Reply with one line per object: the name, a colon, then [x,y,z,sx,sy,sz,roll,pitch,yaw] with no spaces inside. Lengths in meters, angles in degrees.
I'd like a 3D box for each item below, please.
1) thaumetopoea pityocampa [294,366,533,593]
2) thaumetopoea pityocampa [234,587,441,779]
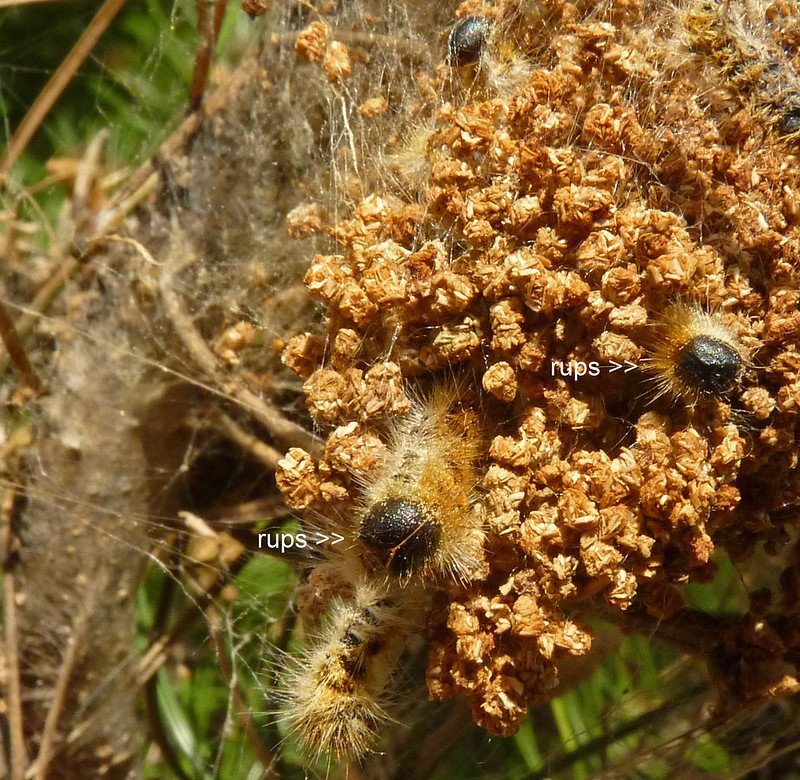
thaumetopoea pityocampa: [0.046,0.161,1.990,0.333,0.342,0.134,-41,9,-10]
thaumetopoea pityocampa: [-0.120,0.498,2.135,0.319,0.330,0.139,40,-2,-37]
